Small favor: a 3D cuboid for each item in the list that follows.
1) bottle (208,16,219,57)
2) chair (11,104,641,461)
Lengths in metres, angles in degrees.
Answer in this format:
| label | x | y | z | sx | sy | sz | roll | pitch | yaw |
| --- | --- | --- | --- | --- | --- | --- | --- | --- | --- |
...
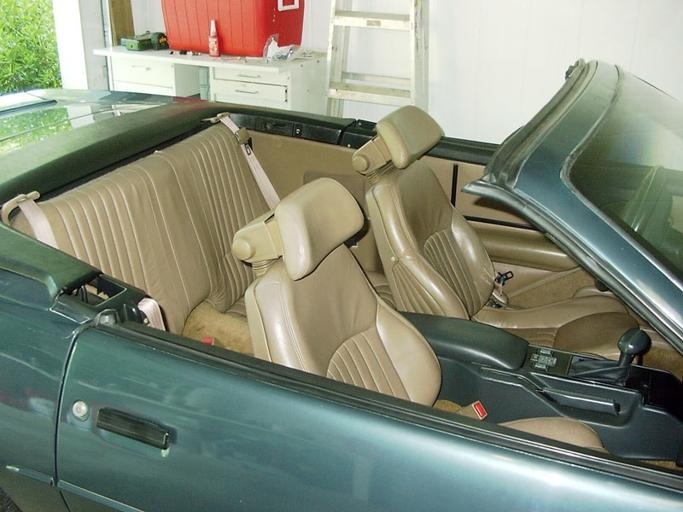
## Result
| label | x | y | z | sx | sy | sz | roll | pitch | yaw |
| --- | --- | --- | --- | --- | --- | --- | --- | --- | --- |
| bottle | -1.016 | -1.751 | 4.169 | 0.087 | 0.289 | 0.182 | -1 | 22 | -16 |
| chair | -0.081 | 0.024 | 1.670 | 1.626 | 0.594 | 0.983 | 8 | 19 | 23 |
